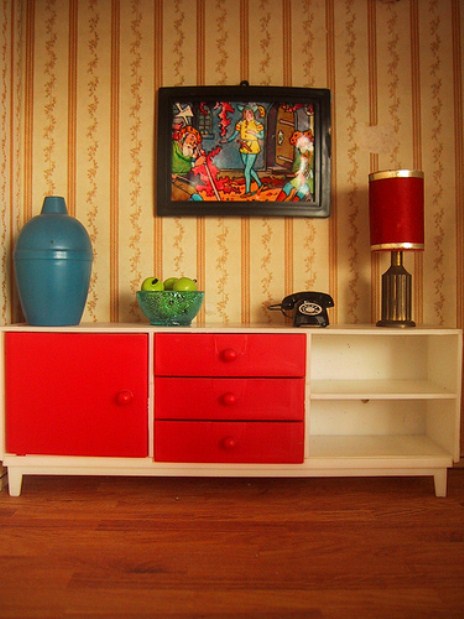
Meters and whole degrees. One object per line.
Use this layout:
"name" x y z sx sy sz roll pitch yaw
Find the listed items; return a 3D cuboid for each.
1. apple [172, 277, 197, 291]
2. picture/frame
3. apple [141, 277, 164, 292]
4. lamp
"apple" -0.168 -0.096 2.199 0.072 0.055 0.058 -13 7 16
"picture/frame" 0.037 -0.658 2.455 0.606 0.431 0.043 0 4 1
"apple" -0.289 -0.089 2.205 0.062 0.057 0.081 -19 -7 -16
"lamp" 0.606 -0.224 2.236 0.197 0.567 0.170 1 8 7
